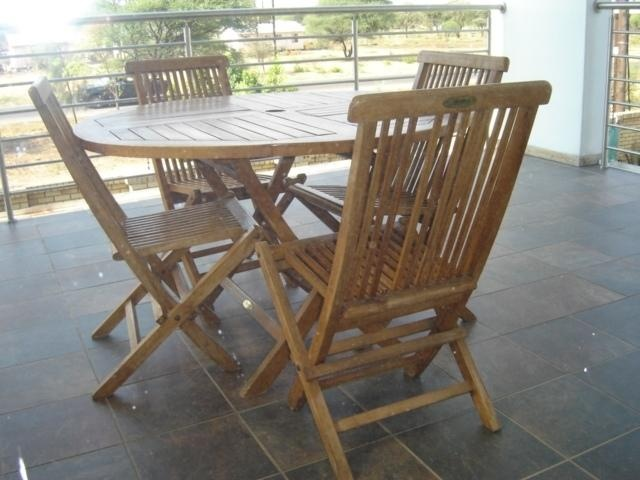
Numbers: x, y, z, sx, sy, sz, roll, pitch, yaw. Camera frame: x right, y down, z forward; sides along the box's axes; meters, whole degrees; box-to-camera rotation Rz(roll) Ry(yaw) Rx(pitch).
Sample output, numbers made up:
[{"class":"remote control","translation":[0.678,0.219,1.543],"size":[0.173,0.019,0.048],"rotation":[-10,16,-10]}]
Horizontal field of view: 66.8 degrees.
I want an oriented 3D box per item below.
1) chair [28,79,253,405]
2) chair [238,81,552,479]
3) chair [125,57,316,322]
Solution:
[{"class":"chair","translation":[-0.637,-0.048,1.801],"size":[0.702,1.067,0.688],"rotation":[-13,28,-14]},{"class":"chair","translation":[0.152,0.093,1.485],"size":[0.866,1.108,0.728],"rotation":[-17,29,-21]},{"class":"chair","translation":[-0.295,-0.352,2.615],"size":[1.022,1.264,0.781],"rotation":[6,26,20]}]
